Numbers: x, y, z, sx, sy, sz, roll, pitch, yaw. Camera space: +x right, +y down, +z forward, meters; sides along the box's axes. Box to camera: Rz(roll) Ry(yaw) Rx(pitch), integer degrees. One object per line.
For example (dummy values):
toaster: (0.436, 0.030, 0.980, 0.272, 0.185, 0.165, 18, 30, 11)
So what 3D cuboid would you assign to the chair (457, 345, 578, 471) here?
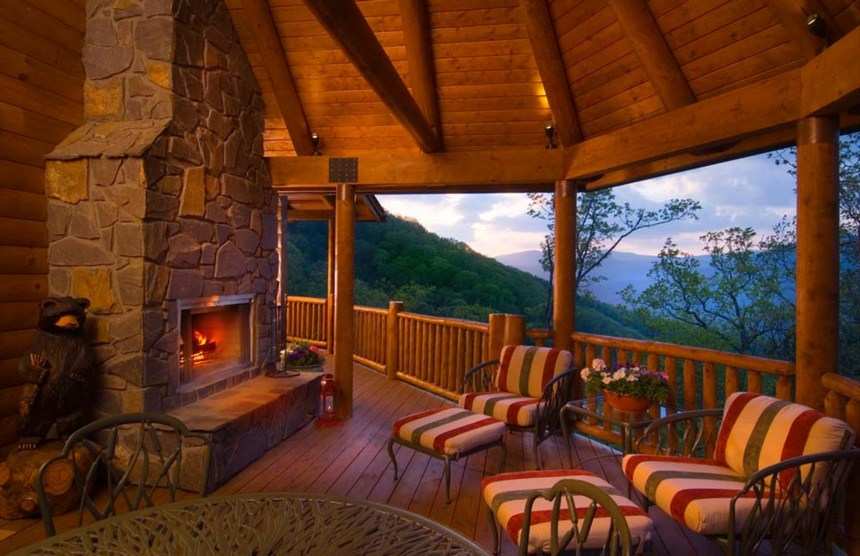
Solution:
chair: (1.029, 1.334, 6.650, 1.360, 1.261, 1.256, 0, -1, 44)

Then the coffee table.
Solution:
coffee table: (1.658, 1.583, 5.981, 0.914, 0.477, 0.891, 5, -5, -39)

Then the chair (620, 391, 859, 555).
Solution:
chair: (2.399, 1.581, 4.903, 1.471, 0.943, 1.577, -1, -3, -7)

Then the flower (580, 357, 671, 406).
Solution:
flower: (1.931, 1.008, 5.894, 0.529, 0.253, 0.537, 1, -5, 43)

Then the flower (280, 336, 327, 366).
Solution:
flower: (-1.679, 0.983, 7.831, 0.518, 0.312, 0.544, 3, 0, 1)

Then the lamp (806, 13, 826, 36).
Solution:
lamp: (3.310, -2.183, 5.128, 0.162, 0.090, 0.087, 28, -13, -38)

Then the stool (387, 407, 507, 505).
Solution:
stool: (0.223, 1.679, 5.977, 1.191, 0.539, 1.126, 2, -26, -5)

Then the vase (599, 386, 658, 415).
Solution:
vase: (1.944, 1.228, 5.885, 0.334, 0.143, 0.327, 12, -8, 0)

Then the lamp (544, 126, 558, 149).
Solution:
lamp: (1.442, -1.674, 7.107, 0.134, 0.277, 0.277, 3, 0, 15)

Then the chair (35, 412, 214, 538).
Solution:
chair: (-2.595, 1.569, 5.042, 1.272, 0.605, 1.738, 4, 9, -17)

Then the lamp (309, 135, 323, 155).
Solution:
lamp: (-1.446, -1.687, 7.625, 0.113, 0.240, 0.240, 3, 0, -3)

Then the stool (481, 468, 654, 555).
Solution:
stool: (1.007, 1.764, 4.478, 1.064, 0.458, 1.033, 1, 4, -3)
